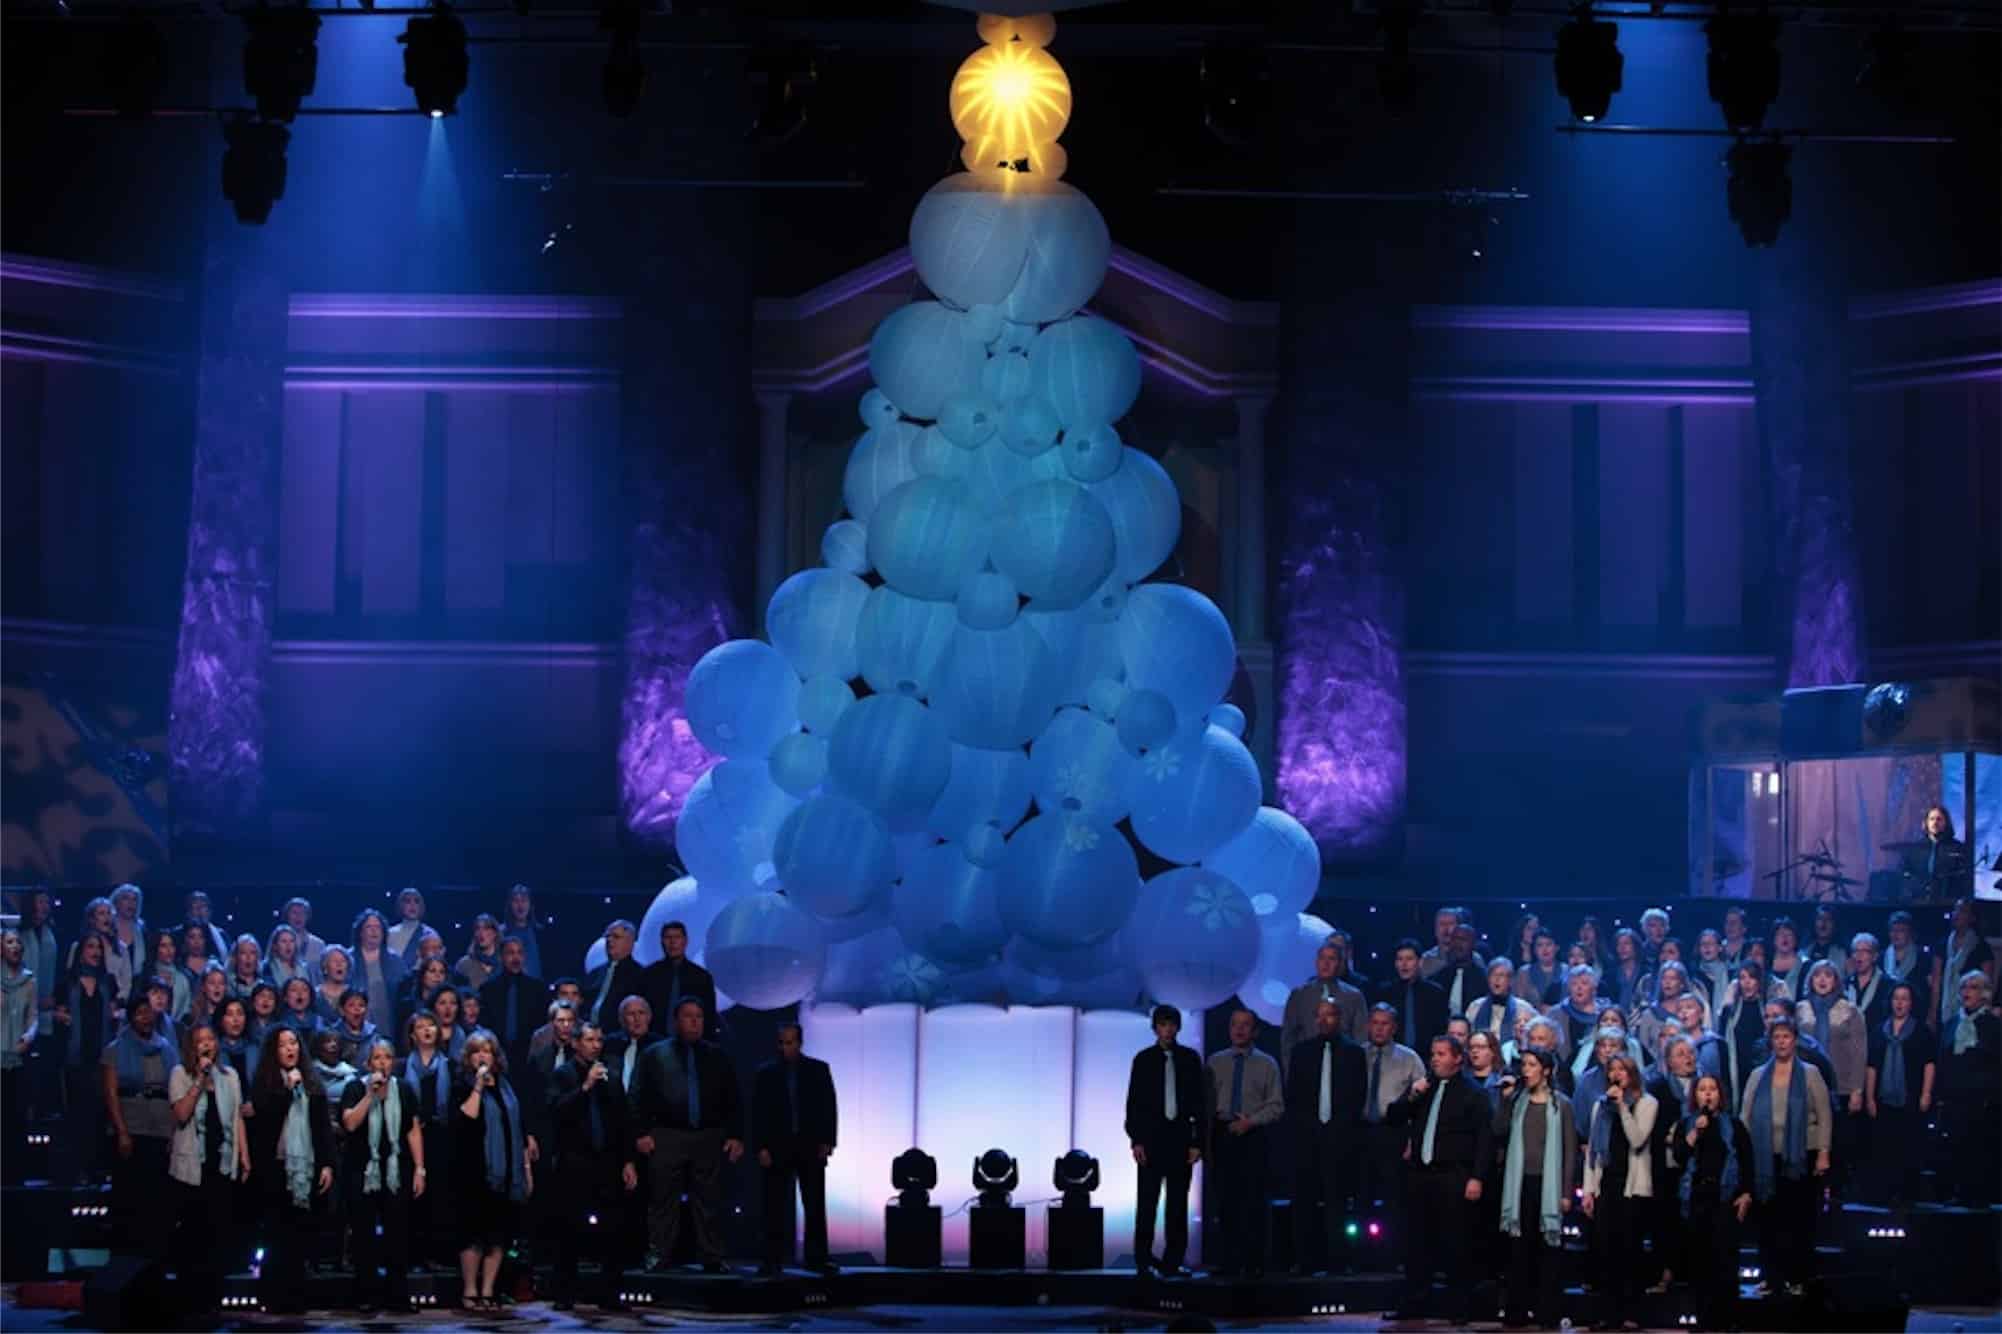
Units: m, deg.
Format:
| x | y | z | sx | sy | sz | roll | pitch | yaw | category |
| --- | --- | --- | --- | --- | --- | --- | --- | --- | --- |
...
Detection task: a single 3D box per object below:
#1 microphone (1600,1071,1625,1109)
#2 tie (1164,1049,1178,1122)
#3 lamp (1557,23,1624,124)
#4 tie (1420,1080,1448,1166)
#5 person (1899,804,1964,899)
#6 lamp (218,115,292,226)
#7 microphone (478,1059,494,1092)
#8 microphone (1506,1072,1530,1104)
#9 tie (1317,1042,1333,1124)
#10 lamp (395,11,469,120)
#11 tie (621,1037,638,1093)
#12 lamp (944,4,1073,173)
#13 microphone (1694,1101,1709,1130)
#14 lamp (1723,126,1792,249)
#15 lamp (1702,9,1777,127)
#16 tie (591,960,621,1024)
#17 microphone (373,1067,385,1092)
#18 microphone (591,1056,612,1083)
| x | y | z | sx | sy | sz | roll | pitch | yaw | category |
| --- | --- | --- | --- | --- | --- | --- | --- | --- | --- |
| 3.804 | 2.575 | 16.563 | 0.150 | 0.189 | 0.143 | -5 | -11 | 24 | microphone |
| 1.077 | 2.657 | 17.018 | 0.088 | 0.395 | 0.027 | 1 | -9 | -4 | tie |
| 4.350 | -4.501 | 19.809 | 0.446 | 0.805 | 0.424 | -2 | -10 | 9 | lamp |
| 2.712 | 2.835 | 16.741 | 0.174 | 0.506 | 0.025 | -8 | -12 | 39 | tie |
| 7.182 | 1.413 | 20.571 | 0.418 | 0.734 | 0.396 | -4 | -19 | 30 | person |
| -5.718 | -3.870 | 20.643 | 0.573 | 0.891 | 0.313 | 6 | 17 | 3 | lamp |
| -3.258 | 2.540 | 16.734 | 0.092 | 0.145 | 0.037 | 5 | -10 | -26 | microphone |
| 3.198 | 2.624 | 16.753 | 0.087 | 0.157 | 0.211 | 3 | -11 | -16 | microphone |
| 2.082 | 2.683 | 17.268 | 0.097 | 0.475 | 0.029 | -1 | -9 | 8 | tie |
| -4.265 | -4.587 | 19.944 | 0.459 | 0.825 | 0.375 | -3 | -10 | 17 | lamp |
| -2.400 | 2.552 | 17.187 | 0.100 | 0.335 | 0.071 | 2 | -10 | -10 | tie |
| 0.042 | -3.739 | 17.240 | 0.709 | 1.080 | 0.328 | 2 | -10 | -10 | lamp |
| 4.329 | 2.753 | 16.509 | 0.107 | 0.155 | 0.037 | 1 | 23 | 12 | microphone |
| 5.800 | -3.738 | 20.471 | 0.467 | 0.905 | 0.467 | -4 | -10 | 20 | lamp |
| 5.494 | -4.464 | 19.838 | 0.541 | 0.835 | 0.244 | 4 | 0 | 9 | lamp |
| -2.633 | 2.150 | 17.835 | 0.131 | 0.392 | 0.285 | 7 | 4 | 7 | tie |
| -3.912 | 2.558 | 16.661 | 0.113 | 0.145 | 0.049 | -3 | 7 | -15 | microphone |
| -2.544 | 2.534 | 16.819 | 0.107 | 0.270 | 0.102 | -5 | -11 | 32 | microphone |
